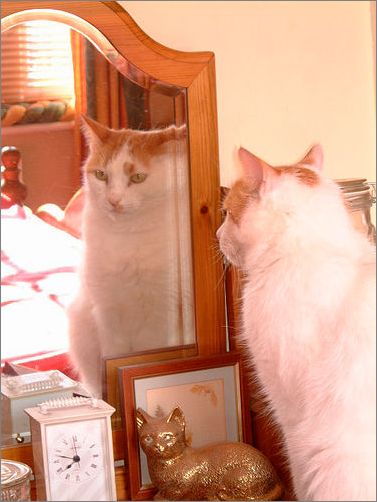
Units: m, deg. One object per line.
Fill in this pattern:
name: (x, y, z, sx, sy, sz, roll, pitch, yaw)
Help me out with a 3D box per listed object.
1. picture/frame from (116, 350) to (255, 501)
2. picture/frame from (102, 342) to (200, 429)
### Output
picture/frame: (-0.012, 0.300, 0.826, 0.257, 0.257, 0.020, -8, 0, -25)
picture/frame: (-0.068, 0.242, 0.852, 0.174, 0.127, 0.016, -4, -4, -20)
